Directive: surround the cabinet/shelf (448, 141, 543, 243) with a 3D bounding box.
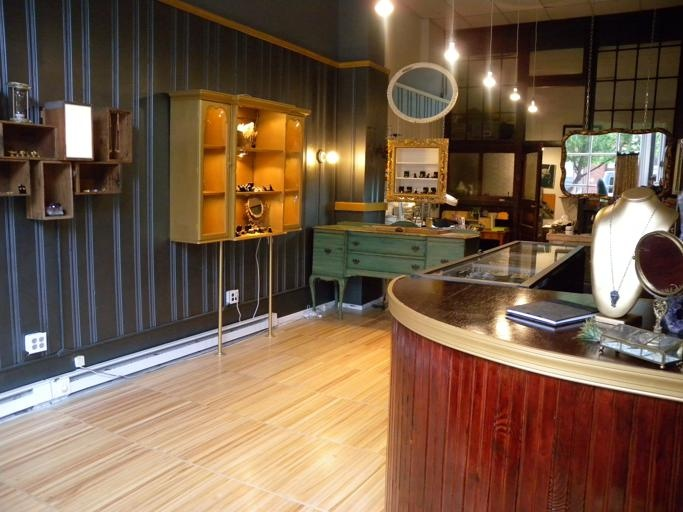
[{"bbox_3d":[3.043,-1.328,9.980,1.993,1.922,0.603,11,15,38],"label":"cabinet/shelf"}]

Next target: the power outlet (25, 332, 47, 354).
[{"bbox_3d":[-2.139,0.600,3.467,0.053,0.152,0.166,0,0,24],"label":"power outlet"}]

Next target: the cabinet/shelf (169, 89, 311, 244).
[{"bbox_3d":[-0.971,-0.821,4.571,0.443,1.273,1.516,4,7,25],"label":"cabinet/shelf"}]

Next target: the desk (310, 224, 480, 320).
[{"bbox_3d":[0.616,0.176,5.708,1.863,0.892,0.792,4,4,27],"label":"desk"}]

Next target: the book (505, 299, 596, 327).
[{"bbox_3d":[0.865,0.227,2.013,0.353,0.042,0.223,-4,13,-30],"label":"book"}]

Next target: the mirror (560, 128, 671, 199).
[{"bbox_3d":[4.391,-1.493,7.887,1.978,1.535,0.089,1,3,24],"label":"mirror"}]

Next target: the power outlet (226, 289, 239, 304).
[{"bbox_3d":[-1.099,0.400,4.968,0.054,0.147,0.153,0,1,26],"label":"power outlet"}]

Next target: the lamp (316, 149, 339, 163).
[{"bbox_3d":[-0.173,-1.182,5.961,0.091,0.172,0.229,-7,21,-37],"label":"lamp"}]

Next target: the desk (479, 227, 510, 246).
[{"bbox_3d":[2.757,-0.364,9.071,0.508,0.475,0.380,1,3,30],"label":"desk"}]
